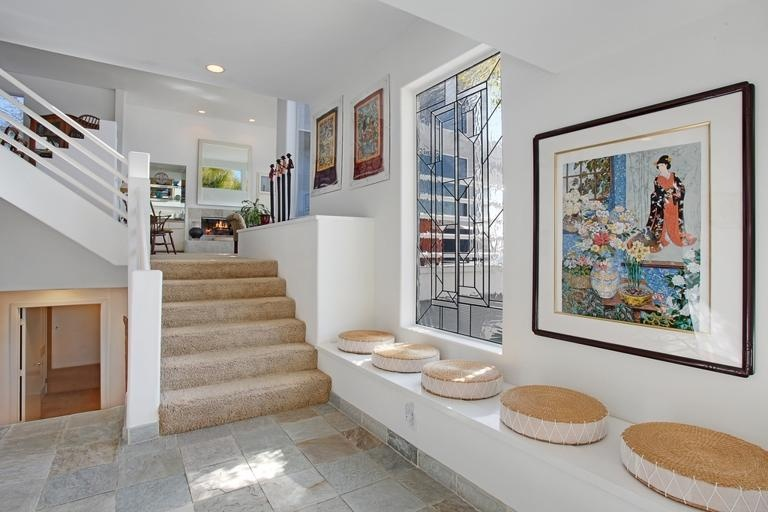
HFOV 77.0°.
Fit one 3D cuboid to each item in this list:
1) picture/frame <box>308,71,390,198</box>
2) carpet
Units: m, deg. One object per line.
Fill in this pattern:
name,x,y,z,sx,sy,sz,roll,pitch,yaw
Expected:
picture/frame,-0.295,-1.271,5.103,0.049,1.100,1.179,0,-2,-35
carpet,-1.434,0.733,4.743,1.403,1.418,1.481,0,-2,-25
